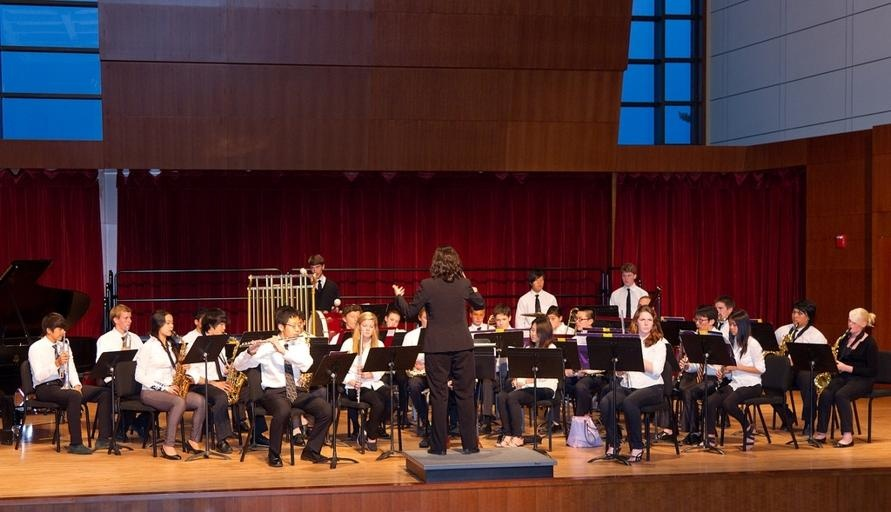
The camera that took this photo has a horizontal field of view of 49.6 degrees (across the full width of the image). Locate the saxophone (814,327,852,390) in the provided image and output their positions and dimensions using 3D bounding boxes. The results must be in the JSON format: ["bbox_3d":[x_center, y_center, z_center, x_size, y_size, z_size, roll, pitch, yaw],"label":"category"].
[{"bbox_3d":[6.512,1.880,16.362,0.441,1.326,0.432,3,-2,20],"label":"saxophone"}]

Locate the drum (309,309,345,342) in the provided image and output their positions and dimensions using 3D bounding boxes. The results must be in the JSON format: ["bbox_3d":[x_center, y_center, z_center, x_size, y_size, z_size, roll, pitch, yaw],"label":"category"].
[{"bbox_3d":[-2.167,1.259,17.758,0.478,0.729,0.709,-3,-4,-17],"label":"drum"}]

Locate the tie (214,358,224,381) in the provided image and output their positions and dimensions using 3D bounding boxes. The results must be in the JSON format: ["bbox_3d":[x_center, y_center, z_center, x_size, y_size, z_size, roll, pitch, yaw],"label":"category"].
[{"bbox_3d":[-3.726,1.884,15.900,0.081,0.307,0.292,-5,-17,3],"label":"tie"}]
